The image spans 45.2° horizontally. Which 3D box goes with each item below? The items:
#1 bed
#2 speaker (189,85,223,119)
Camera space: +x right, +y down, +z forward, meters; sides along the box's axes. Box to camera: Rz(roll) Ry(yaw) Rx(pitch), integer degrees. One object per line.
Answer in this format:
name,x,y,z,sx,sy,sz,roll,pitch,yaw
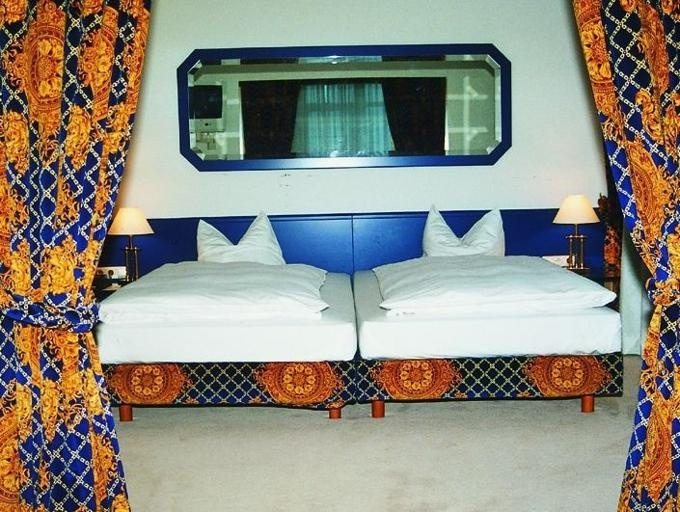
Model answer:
bed,0.166,0.488,4.590,2.723,0.757,0.634,-3,-2,-1
speaker,-0.979,-1.117,5.905,0.232,0.176,0.050,-2,-1,-14
